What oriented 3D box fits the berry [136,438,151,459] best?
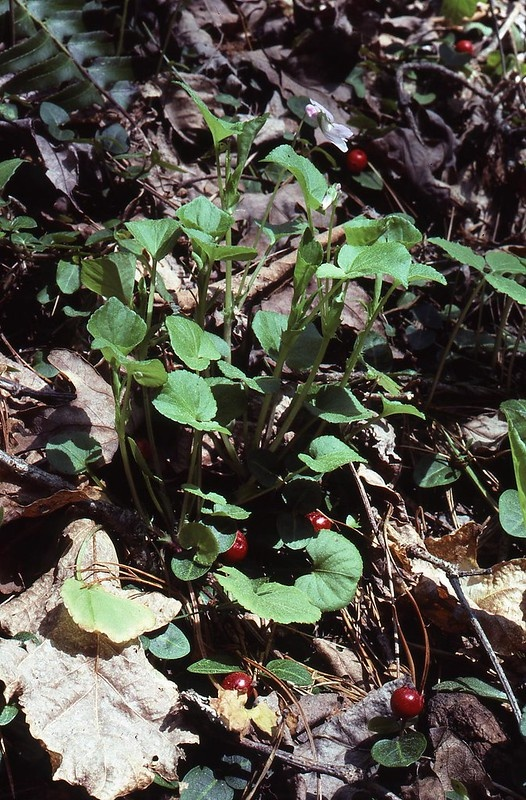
[{"bbox_3d":[-0.343,0.139,2.088,0.039,0.056,0.014,-19,6,-17],"label":"berry"}]

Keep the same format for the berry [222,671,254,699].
[{"bbox_3d":[-0.060,0.668,1.700,0.066,0.032,0.067,10,24,-5],"label":"berry"}]

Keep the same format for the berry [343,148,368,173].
[{"bbox_3d":[0.361,-0.923,2.808,0.101,0.090,0.106,-6,48,13],"label":"berry"}]
